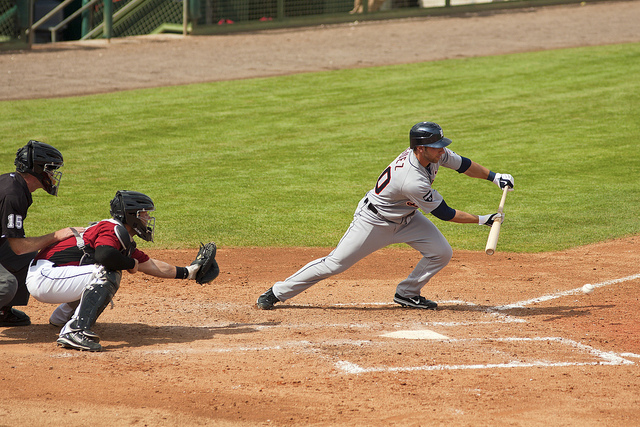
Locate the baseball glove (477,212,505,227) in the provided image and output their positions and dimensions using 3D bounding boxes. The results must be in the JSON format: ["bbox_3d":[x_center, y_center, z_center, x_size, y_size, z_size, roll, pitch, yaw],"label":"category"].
[{"bbox_3d":[2.280,0.072,14.226,0.327,0.063,0.199,3,-21,-4],"label":"baseball glove"}]

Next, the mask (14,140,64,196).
[{"bbox_3d":[-3.628,-0.592,13.534,0.724,0.484,0.526,13,0,-31],"label":"mask"}]

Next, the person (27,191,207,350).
[{"bbox_3d":[-2.821,0.672,13.190,1.495,1.874,0.810,2,14,-12],"label":"person"}]

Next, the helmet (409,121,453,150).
[{"bbox_3d":[1.417,-1.032,13.899,0.595,0.247,0.337,5,33,13],"label":"helmet"}]

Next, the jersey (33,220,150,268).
[{"bbox_3d":[-2.827,0.378,13.257,1.355,0.590,0.458,2,13,-9],"label":"jersey"}]

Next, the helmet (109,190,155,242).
[{"bbox_3d":[-2.417,0.014,13.476,0.739,0.471,0.485,9,-2,-25],"label":"helmet"}]

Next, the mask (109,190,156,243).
[{"bbox_3d":[-2.309,-0.002,13.332,0.851,0.548,0.554,-1,15,-21],"label":"mask"}]
